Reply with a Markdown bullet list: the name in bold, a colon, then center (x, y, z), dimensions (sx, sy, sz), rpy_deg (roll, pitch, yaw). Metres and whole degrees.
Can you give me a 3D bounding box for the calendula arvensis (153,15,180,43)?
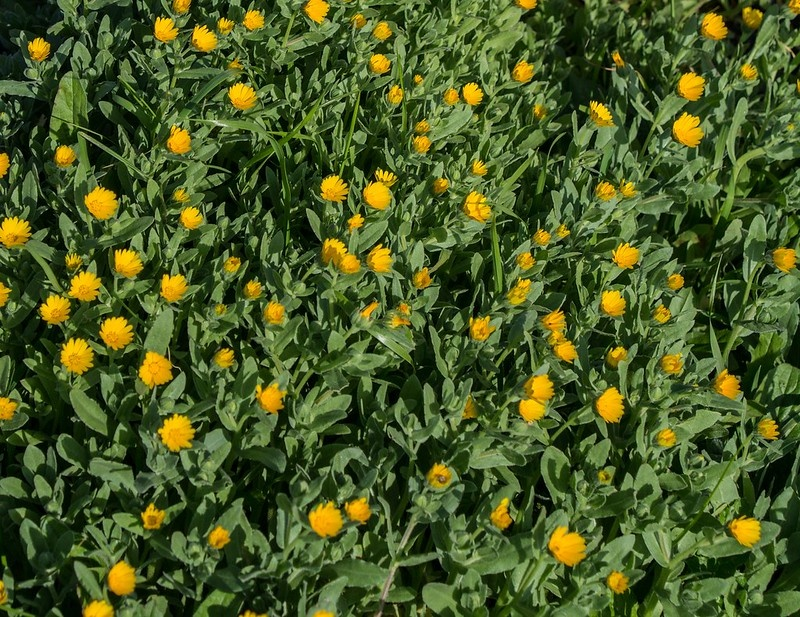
- **calendula arvensis**: center (-0.755, -0.871, 2.508), dimensions (0.035, 0.095, 0.082), rpy_deg (-25, -7, 33)
